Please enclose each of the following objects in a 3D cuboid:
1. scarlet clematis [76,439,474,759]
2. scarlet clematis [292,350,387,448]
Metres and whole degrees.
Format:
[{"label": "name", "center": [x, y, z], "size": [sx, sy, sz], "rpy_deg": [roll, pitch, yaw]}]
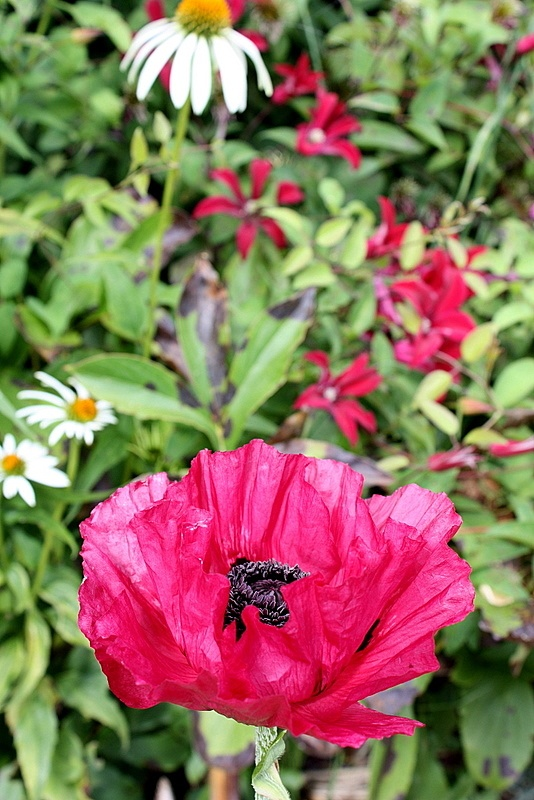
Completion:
[{"label": "scarlet clematis", "center": [-0.005, 0.080, 0.289], "size": [0.144, 0.067, 0.159], "rpy_deg": [16, 24, -30]}, {"label": "scarlet clematis", "center": [0.061, 0.004, 0.632], "size": [0.070, 0.084, 0.070], "rpy_deg": [12, 64, 2]}]
